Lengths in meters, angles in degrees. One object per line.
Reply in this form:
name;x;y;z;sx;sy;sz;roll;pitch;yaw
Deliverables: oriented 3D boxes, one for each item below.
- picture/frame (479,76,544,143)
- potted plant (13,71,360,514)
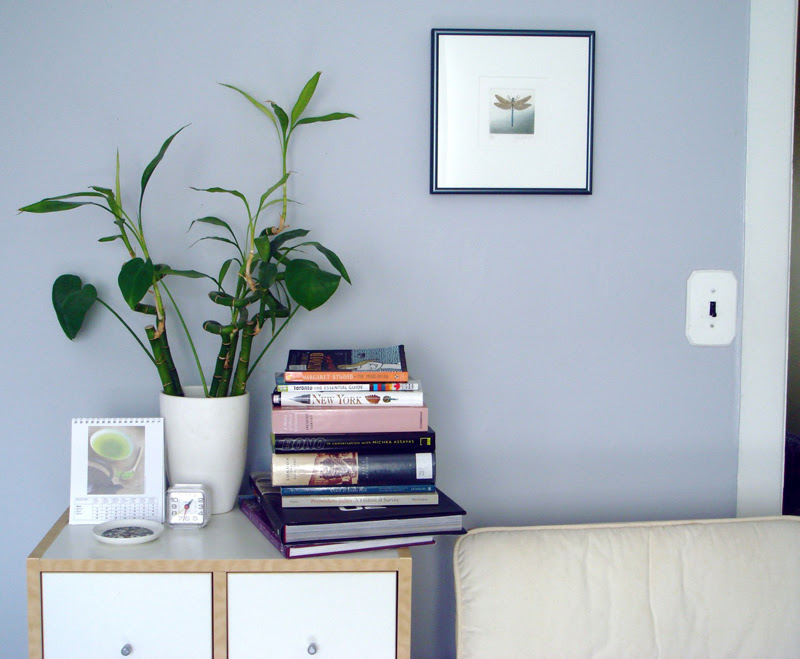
picture/frame;0.256;-0.522;1.863;0.127;0.147;0.007;0;2;-8
potted plant;-0.455;-0.063;1.745;0.649;0.944;0.386;-2;11;-26
